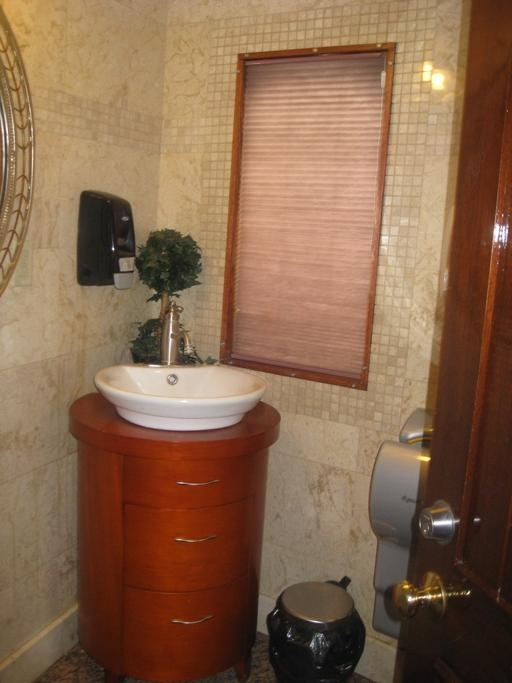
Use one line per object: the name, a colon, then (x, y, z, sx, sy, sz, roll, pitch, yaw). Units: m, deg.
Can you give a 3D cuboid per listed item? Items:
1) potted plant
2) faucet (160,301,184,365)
potted plant: (-0.303, -0.148, 2.005, 0.245, 0.509, 0.224, 11, -12, -39)
faucet: (-0.276, -0.032, 1.882, 0.066, 0.212, 0.149, 3, 9, -9)
